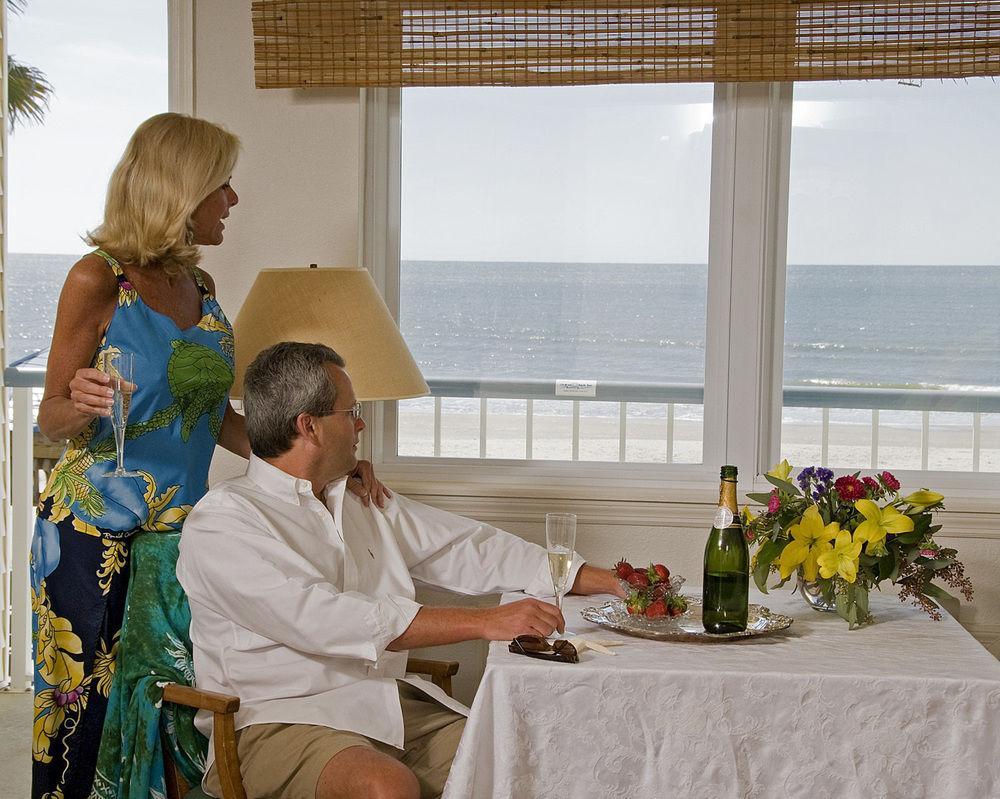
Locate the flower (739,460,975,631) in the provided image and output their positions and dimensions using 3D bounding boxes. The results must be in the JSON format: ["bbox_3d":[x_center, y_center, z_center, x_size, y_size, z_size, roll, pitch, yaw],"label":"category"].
[{"bbox_3d":[0.811,0.342,2.565,0.422,0.313,0.404,9,18,-1],"label":"flower"}]

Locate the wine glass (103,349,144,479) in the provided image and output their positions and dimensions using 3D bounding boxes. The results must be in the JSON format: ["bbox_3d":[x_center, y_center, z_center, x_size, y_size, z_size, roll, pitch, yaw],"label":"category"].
[{"bbox_3d":[-0.878,0.033,2.517,0.066,0.286,0.154,1,-3,-20],"label":"wine glass"}]

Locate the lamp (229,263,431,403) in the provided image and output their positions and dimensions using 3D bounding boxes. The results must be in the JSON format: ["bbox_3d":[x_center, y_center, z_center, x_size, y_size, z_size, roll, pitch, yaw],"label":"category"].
[{"bbox_3d":[-0.467,-0.205,2.986,0.367,0.261,0.410,2,7,27],"label":"lamp"}]

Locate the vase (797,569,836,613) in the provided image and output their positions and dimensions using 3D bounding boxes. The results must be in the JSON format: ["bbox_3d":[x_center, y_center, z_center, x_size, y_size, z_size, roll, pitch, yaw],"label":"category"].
[{"bbox_3d":[0.750,0.454,2.585,0.079,0.067,0.076,1,5,17],"label":"vase"}]
